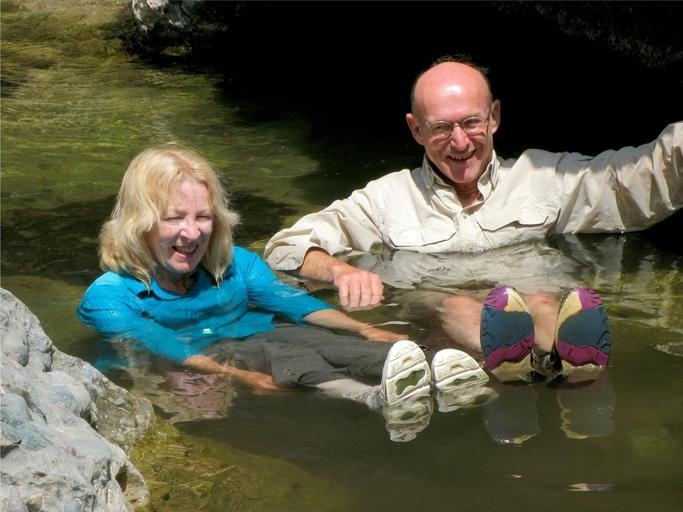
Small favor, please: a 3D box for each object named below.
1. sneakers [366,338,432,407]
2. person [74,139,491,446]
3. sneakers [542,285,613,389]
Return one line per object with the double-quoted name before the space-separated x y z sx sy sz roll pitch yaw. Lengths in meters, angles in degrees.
"sneakers" 0.331 0.569 3.585 0.280 0.312 0.159 6 15 -24
"person" -0.493 0.022 4.061 1.955 1.264 1.013 7 25 34
"sneakers" 1.202 0.405 3.632 0.286 0.493 0.291 7 2 -4
